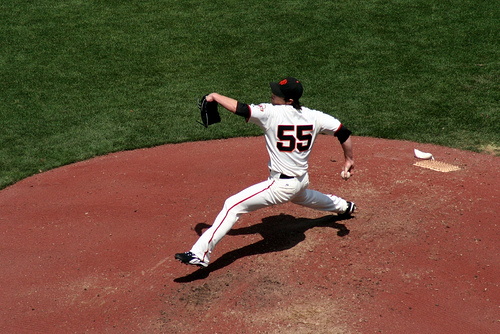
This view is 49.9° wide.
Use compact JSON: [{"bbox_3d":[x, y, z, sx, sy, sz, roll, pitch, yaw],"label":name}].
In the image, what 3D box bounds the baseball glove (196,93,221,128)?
[{"bbox_3d":[-0.606,-0.895,8.319,0.417,0.433,0.387,8,17,38],"label":"baseball glove"}]
